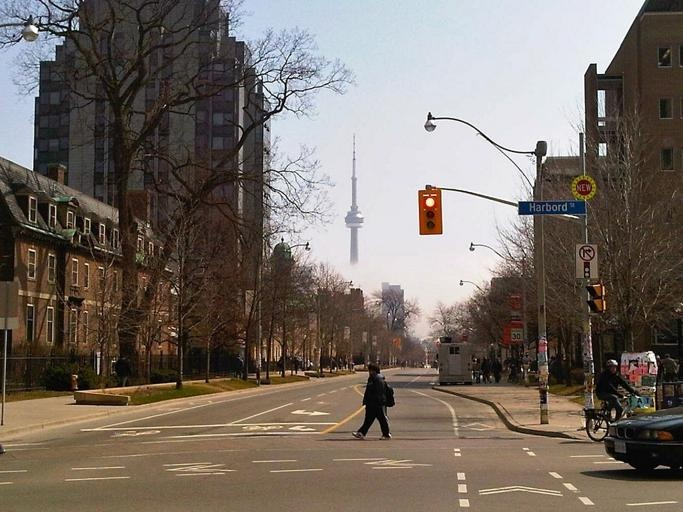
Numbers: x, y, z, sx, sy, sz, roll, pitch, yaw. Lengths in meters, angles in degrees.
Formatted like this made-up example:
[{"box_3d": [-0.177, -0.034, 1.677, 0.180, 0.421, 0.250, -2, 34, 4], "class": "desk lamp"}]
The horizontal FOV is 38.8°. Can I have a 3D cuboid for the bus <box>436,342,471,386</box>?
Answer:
[{"box_3d": [8.417, 7.958, 71.815, 1.793, 2.059, 3.256, 0, -1, 7], "class": "bus"}]

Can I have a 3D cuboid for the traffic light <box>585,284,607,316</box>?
[{"box_3d": [9.509, 1.614, 36.162, 0.813, 1.478, 1.029, 0, -4, -8], "class": "traffic light"}]

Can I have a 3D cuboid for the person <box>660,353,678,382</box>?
[{"box_3d": [15.595, 5.294, 46.241, 0.693, 1.403, 2.183, -6, -13, 16], "class": "person"}]

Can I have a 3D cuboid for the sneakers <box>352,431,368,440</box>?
[{"box_3d": [0.617, 6.266, 34.094, 0.187, 0.256, 0.521, 8, 12, -32], "class": "sneakers"}]

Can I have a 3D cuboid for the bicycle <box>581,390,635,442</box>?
[{"box_3d": [9.220, 5.626, 34.181, 1.233, 1.720, 2.603, -2, -9, 2], "class": "bicycle"}]

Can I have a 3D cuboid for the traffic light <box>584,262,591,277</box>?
[{"box_3d": [9.198, 0.475, 36.308, 0.295, 0.547, 0.097, -3, -10, 1], "class": "traffic light"}]
